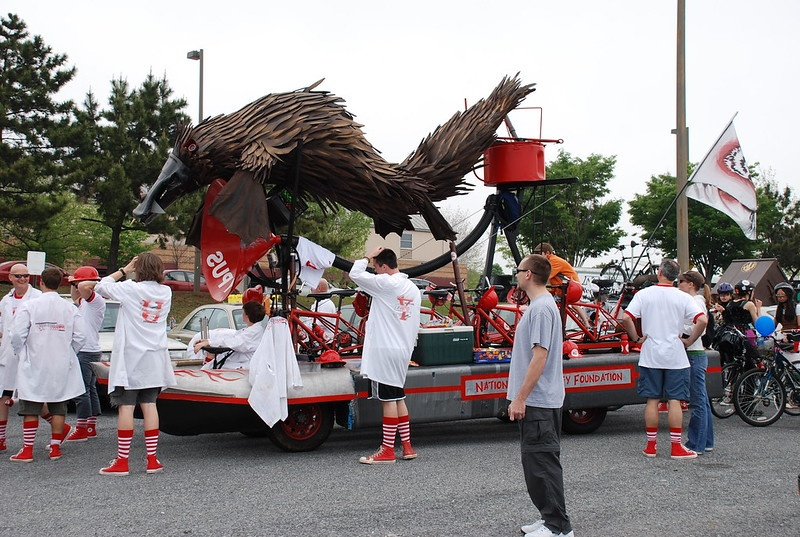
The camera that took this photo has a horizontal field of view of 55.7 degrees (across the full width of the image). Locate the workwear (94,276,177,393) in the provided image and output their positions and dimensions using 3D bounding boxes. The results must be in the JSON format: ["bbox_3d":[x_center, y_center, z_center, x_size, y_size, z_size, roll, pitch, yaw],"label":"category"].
[{"bbox_3d":[-3.319,0.978,9.462,0.985,1.870,0.644,1,2,-43],"label":"workwear"}]

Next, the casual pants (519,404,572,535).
[{"bbox_3d":[1.432,1.948,7.448,0.505,1.176,0.302,1,3,9],"label":"casual pants"}]

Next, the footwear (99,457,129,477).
[{"bbox_3d":[-3.469,2.362,9.151,0.377,0.215,0.197,0,3,0],"label":"footwear"}]

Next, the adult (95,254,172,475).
[{"bbox_3d":[-3.290,1.148,9.395,0.909,2.702,0.712,-1,3,-23],"label":"adult"}]

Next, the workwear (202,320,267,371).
[{"bbox_3d":[-2.306,1.062,10.394,0.737,0.766,0.698,8,3,17],"label":"workwear"}]

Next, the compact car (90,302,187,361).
[{"bbox_3d":[-4.757,1.056,13.312,0.986,0.806,1.775,1,-3,-33],"label":"compact car"}]

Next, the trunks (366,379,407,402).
[{"bbox_3d":[-0.200,1.589,9.784,0.259,0.342,0.465,-5,-5,41],"label":"trunks"}]

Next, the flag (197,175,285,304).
[{"bbox_3d":[-2.096,-0.402,10.735,1.405,1.887,1.885,-2,4,-19],"label":"flag"}]

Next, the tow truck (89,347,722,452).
[{"bbox_3d":[1.230,1.765,11.533,9.966,1.702,2.678,1,-4,-19],"label":"tow truck"}]

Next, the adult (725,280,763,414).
[{"bbox_3d":[5.916,1.186,13.157,0.571,1.960,0.515,4,8,-8],"label":"adult"}]

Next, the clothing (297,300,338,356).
[{"bbox_3d":[-1.248,0.819,11.483,0.798,0.813,0.571,2,-3,10],"label":"clothing"}]

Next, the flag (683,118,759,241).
[{"bbox_3d":[5.733,-1.584,13.308,1.446,2.065,0.783,-1,3,-25],"label":"flag"}]

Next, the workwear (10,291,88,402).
[{"bbox_3d":[-4.618,1.037,9.938,0.872,1.430,0.385,-1,3,-25],"label":"workwear"}]

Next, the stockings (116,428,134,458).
[{"bbox_3d":[-3.321,2.104,9.118,0.136,0.397,0.156,-1,3,-34],"label":"stockings"}]

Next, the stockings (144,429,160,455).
[{"bbox_3d":[-3.062,2.111,9.305,0.139,0.342,0.177,0,3,-11],"label":"stockings"}]

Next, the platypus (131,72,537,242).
[{"bbox_3d":[-0.918,-1.616,10.956,5.617,2.596,1.865,0,7,-8],"label":"platypus"}]

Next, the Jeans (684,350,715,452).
[{"bbox_3d":[4.150,1.772,10.549,0.403,1.375,0.525,1,-5,14],"label":"Jeans"}]

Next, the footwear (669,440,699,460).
[{"bbox_3d":[3.783,2.394,10.121,0.413,0.222,0.352,0,3,-8],"label":"footwear"}]

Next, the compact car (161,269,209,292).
[{"bbox_3d":[-7.717,0.436,27.099,1.630,0.744,0.892,-5,8,-31],"label":"compact car"}]

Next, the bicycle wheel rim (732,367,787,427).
[{"bbox_3d":[5.863,2.051,12.244,0.901,0.909,0.470,-1,3,-33],"label":"bicycle wheel rim"}]

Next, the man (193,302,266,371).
[{"bbox_3d":[-2.443,1.006,10.513,1.016,1.050,0.774,2,5,0],"label":"man"}]

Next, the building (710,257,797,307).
[{"bbox_3d":[9.179,0.269,19.673,1.091,0.955,1.485,-1,1,-20],"label":"building"}]

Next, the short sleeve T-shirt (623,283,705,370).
[{"bbox_3d":[3.525,0.765,10.160,0.934,1.111,0.376,1,3,20],"label":"short sleeve T-shirt"}]

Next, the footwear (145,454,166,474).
[{"bbox_3d":[-3.027,2.369,9.297,0.194,0.225,0.238,0,3,-17],"label":"footwear"}]

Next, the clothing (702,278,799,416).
[{"bbox_3d":[5.953,1.151,13.836,3.057,1.927,1.258,0,-6,-35],"label":"clothing"}]

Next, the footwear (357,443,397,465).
[{"bbox_3d":[-0.322,2.408,9.855,0.577,0.287,0.196,2,-7,2],"label":"footwear"}]

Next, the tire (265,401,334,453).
[{"bbox_3d":[-1.285,2.036,10.383,0.890,0.879,0.330,7,-2,25],"label":"tire"}]

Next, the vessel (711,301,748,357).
[{"bbox_3d":[5.678,1.049,13.014,0.400,1.194,0.529,6,-31,15],"label":"vessel"}]

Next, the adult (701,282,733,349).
[{"bbox_3d":[5.739,0.880,13.282,0.462,1.317,0.413,12,-3,-14],"label":"adult"}]

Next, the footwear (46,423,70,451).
[{"bbox_3d":[-4.653,2.293,10.284,0.171,0.435,0.147,46,-28,-16],"label":"footwear"}]

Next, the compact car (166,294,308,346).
[{"bbox_3d":[-3.846,0.930,14.378,2.385,0.835,1.112,1,1,42],"label":"compact car"}]

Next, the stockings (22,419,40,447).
[{"bbox_3d":[-4.764,2.099,9.747,0.145,0.337,0.133,-1,3,-36],"label":"stockings"}]
